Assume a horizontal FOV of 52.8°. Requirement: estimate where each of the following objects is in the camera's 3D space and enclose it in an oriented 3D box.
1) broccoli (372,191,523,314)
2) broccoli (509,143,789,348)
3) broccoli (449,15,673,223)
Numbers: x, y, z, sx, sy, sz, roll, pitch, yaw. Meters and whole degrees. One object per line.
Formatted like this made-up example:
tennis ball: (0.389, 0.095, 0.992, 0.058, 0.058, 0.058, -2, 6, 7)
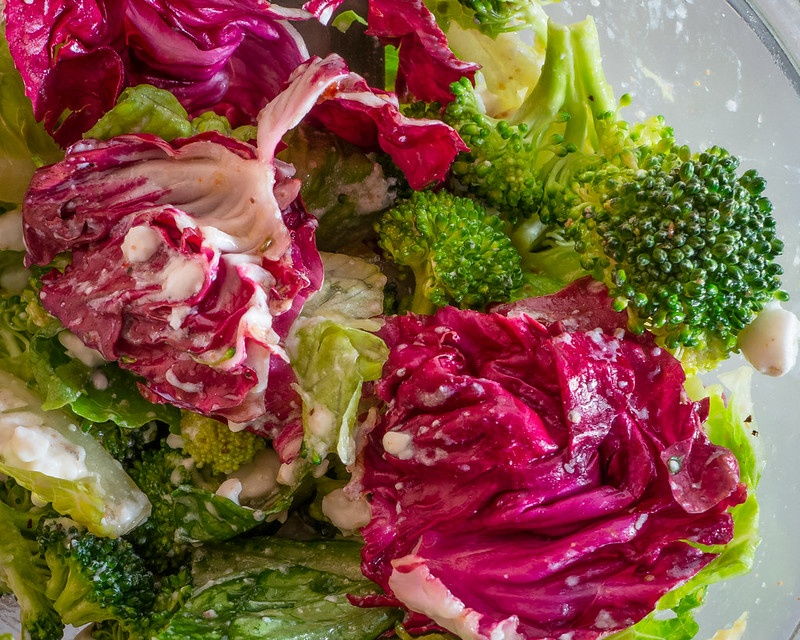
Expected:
broccoli: (0.083, -0.118, 1.481, 0.217, 0.229, 0.217, 22, 31, -18)
broccoli: (0.419, -0.158, 1.373, 0.294, 0.146, 0.359, -38, 120, -42)
broccoli: (0.275, -0.326, 1.365, 0.358, 0.213, 0.394, 0, 84, -7)
